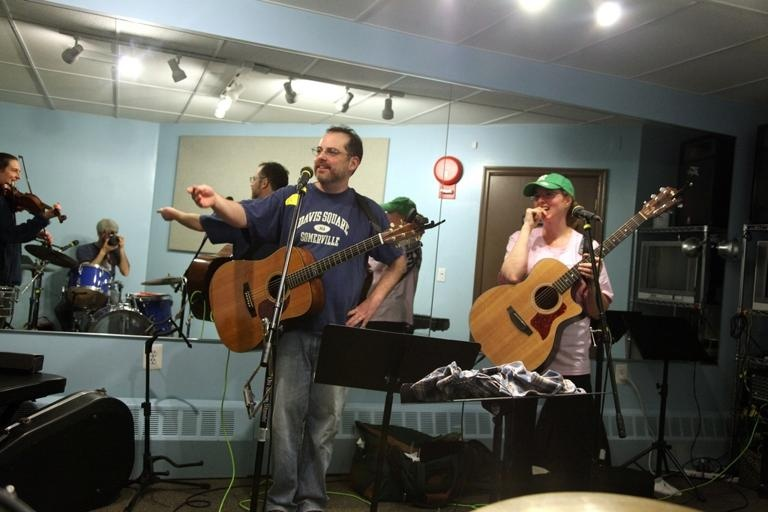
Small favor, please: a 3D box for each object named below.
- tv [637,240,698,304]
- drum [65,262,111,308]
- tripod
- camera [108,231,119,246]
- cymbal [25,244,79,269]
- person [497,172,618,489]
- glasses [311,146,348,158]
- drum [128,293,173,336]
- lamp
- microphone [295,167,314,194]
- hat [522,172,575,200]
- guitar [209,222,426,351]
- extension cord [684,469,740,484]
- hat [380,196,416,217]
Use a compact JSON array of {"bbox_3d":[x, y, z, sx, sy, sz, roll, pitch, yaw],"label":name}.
[{"bbox_3d":[2.483,0.164,4.879,0.476,0.471,0.258,5,-18,3],"label":"tv"},{"bbox_3d":[-2.037,0.208,3.987,0.307,0.304,0.290,10,14,-4],"label":"drum"},{"bbox_3d":[2.331,1.361,4.609,0.579,1.045,0.660,3,-1,25],"label":"tripod"},{"bbox_3d":[-1.908,-0.116,3.922,0.099,0.065,0.100,4,-16,-17],"label":"camera"},{"bbox_3d":[-2.300,-0.003,3.843,0.213,0.075,0.214,7,-24,28],"label":"cymbal"},{"bbox_3d":[1.125,0.567,3.730,0.686,2.082,0.740,-9,11,-44],"label":"person"},{"bbox_3d":[-0.324,-0.683,3.664,0.168,0.049,0.162,7,-2,-42],"label":"glasses"},{"bbox_3d":[-1.644,0.402,4.009,0.287,0.274,0.293,2,1,44],"label":"drum"},{"bbox_3d":[-1.211,-1.330,4.073,2.023,0.218,0.180,18,7,-16],"label":"lamp"},{"bbox_3d":[-0.479,-0.462,3.267,0.083,0.245,0.082,4,-46,8],"label":"microphone"},{"bbox_3d":[1.163,-0.483,3.832,0.319,0.170,0.221,19,-7,-15],"label":"hat"},{"bbox_3d":[-0.541,0.173,3.555,1.539,0.620,0.228,-23,-13,12],"label":"guitar"},{"bbox_3d":[2.820,1.889,4.769,0.299,0.069,0.172,-2,-6,21],"label":"extension cord"},{"bbox_3d":[0.117,-0.389,4.265,0.260,0.122,0.167,7,9,-11],"label":"hat"}]
